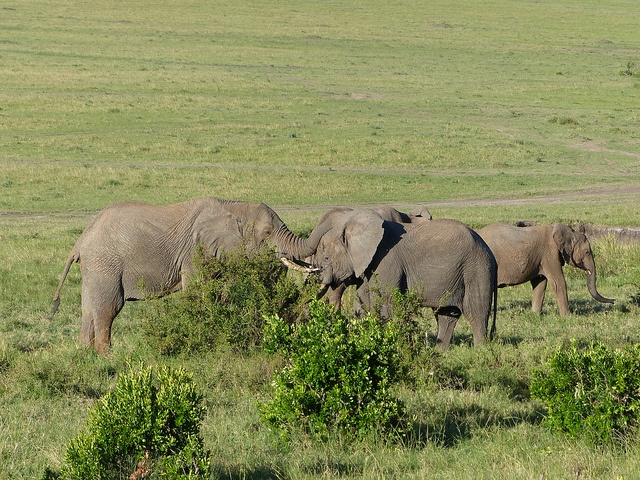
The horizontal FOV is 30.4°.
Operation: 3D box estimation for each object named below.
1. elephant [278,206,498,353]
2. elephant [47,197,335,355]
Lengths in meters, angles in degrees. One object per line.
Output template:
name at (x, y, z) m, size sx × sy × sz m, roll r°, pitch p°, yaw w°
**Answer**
elephant at (4.201, 2.623, 72.639) m, size 13.373 × 9.100 × 5.200 m, roll 4°, pitch 9°, yaw 2°
elephant at (-7.131, 1.000, 75.356) m, size 16.034 × 9.982 × 7.420 m, roll -8°, pitch 5°, yaw -6°
